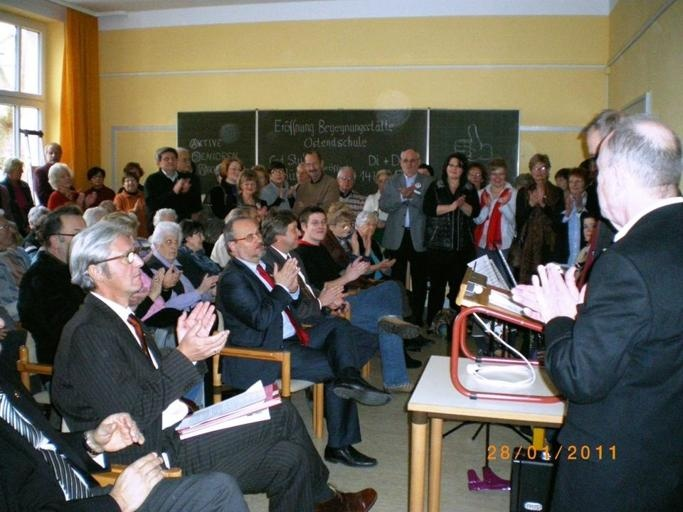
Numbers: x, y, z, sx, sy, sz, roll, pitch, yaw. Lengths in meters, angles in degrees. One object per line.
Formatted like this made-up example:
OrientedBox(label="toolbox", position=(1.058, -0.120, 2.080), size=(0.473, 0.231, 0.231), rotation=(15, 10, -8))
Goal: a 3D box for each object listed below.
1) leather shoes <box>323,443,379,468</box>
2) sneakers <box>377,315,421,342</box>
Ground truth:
OrientedBox(label="leather shoes", position=(0.055, 1.059, 3.200), size=(0.292, 0.133, 0.109), rotation=(0, 2, 10))
OrientedBox(label="sneakers", position=(0.419, 0.514, 3.957), size=(0.326, 0.126, 0.152), rotation=(20, 12, -13))
